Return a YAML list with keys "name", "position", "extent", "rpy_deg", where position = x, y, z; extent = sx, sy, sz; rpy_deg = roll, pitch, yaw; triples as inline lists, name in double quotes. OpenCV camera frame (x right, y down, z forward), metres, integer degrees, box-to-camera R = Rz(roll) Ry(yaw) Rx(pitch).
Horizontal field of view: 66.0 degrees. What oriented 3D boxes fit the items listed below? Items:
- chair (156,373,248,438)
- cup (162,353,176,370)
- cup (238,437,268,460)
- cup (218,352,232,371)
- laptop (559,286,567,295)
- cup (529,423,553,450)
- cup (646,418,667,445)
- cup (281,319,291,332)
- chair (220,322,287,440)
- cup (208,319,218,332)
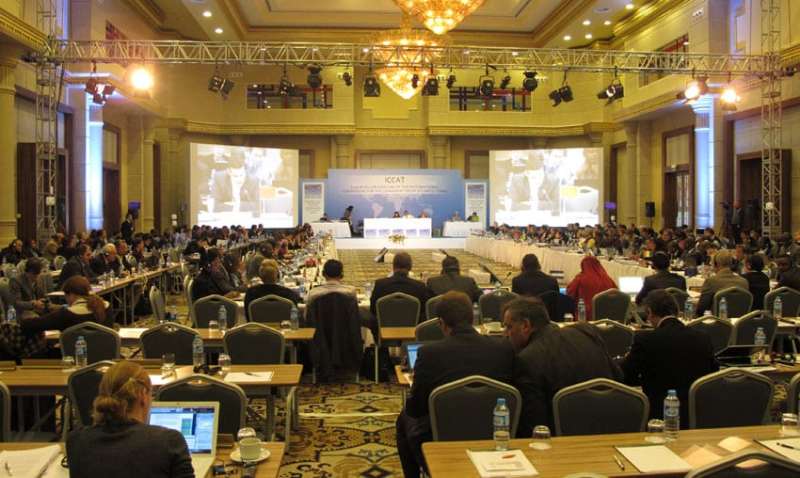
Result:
- name: "chair"
  position: [-2.101, 1.880, 7.109]
  extent: [1.125, 0.678, 0.776]
  rpy_deg: [-2, -5, 14]
- name: "cup"
  position: [-2.781, 1.476, 7.480]
  extent: [0.192, 0.198, 0.183]
  rpy_deg: [-1, 1, 0]
- name: "cup"
  position: [-1.479, 2.112, 6.218]
  extent: [0.270, 0.151, 0.193]
  rpy_deg: [1, -1, 3]
- name: "cup"
  position: [-2.257, 1.573, 7.859]
  extent: [0.160, 0.197, 0.213]
  rpy_deg: [0, -3, 0]
- name: "laptop"
  position: [2.944, 0.939, 11.179]
  extent: [0.130, 0.147, 0.228]
  rpy_deg: [-1, 3, 4]
- name: "cup"
  position: [1.441, 2.043, 6.360]
  extent: [0.219, 0.185, 0.209]
  rpy_deg: [0, -5, 0]
- name: "cup"
  position: [2.635, 1.992, 6.386]
  extent: [0.212, 0.190, 0.208]
  rpy_deg: [0, -4, 0]
- name: "cup"
  position: [-1.733, 1.315, 9.354]
  extent: [0.138, 0.126, 0.141]
  rpy_deg: [2, 6, 0]
- name: "chair"
  position: [-2.116, 2.028, 8.397]
  extent: [0.947, 1.527, 0.971]
  rpy_deg: [7, -28, -30]
- name: "cup"
  position: [-2.754, 1.281, 9.111]
  extent: [0.176, 0.156, 0.168]
  rpy_deg: [1, -2, 0]
